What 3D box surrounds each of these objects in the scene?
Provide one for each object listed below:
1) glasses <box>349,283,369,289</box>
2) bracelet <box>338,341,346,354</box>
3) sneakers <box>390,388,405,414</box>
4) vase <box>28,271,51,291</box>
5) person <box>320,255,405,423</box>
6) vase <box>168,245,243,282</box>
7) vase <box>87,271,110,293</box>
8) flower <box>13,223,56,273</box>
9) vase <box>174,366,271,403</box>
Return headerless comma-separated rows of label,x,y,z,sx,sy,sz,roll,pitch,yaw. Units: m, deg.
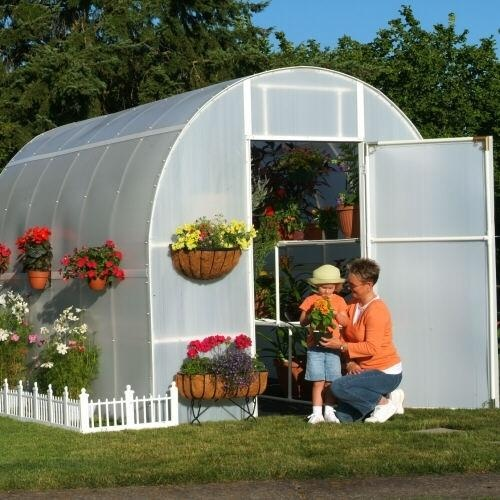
glasses,1.250,0.408,17.009,0.119,0.063,0.097,7,-6,-19
bracelet,1.082,1.133,17.172,0.077,0.121,0.033,0,2,22
sneakers,1.742,1.770,17.500,0.144,0.373,0.128,-3,17,-6
vase,-2.695,0.393,19.019,0.219,0.217,0.236,1,2,18
person,1.341,1.062,17.181,0.896,1.806,0.583,6,2,6
vase,-0.528,0.159,17.634,0.819,0.381,0.294,6,2,-22
vase,-1.824,0.380,17.883,0.192,0.172,0.209,1,3,4
flower,-2.757,-0.019,19.135,0.458,0.687,0.600,-2,1,31
vase,-0.343,1.628,17.507,0.858,0.335,0.460,1,-5,-22
